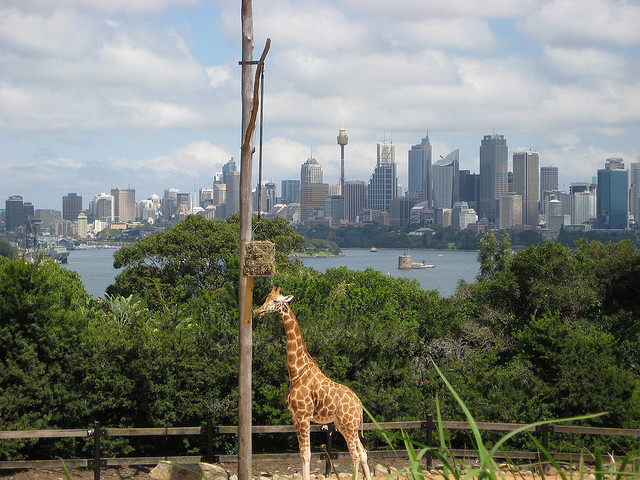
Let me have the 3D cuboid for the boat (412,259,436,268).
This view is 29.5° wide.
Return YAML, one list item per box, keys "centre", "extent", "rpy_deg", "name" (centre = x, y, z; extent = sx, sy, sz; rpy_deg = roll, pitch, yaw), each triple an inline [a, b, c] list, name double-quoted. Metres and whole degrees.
- centre: [14.446, 3.617, 169.359]
  extent: [3.014, 0.780, 7.459]
  rpy_deg: [1, -1, 2]
  name: "boat"

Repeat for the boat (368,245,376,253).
- centre: [11.008, 2.173, 244.830]
  extent: [1.044, 1.227, 1.094]
  rpy_deg: [0, 1, -8]
  name: "boat"
